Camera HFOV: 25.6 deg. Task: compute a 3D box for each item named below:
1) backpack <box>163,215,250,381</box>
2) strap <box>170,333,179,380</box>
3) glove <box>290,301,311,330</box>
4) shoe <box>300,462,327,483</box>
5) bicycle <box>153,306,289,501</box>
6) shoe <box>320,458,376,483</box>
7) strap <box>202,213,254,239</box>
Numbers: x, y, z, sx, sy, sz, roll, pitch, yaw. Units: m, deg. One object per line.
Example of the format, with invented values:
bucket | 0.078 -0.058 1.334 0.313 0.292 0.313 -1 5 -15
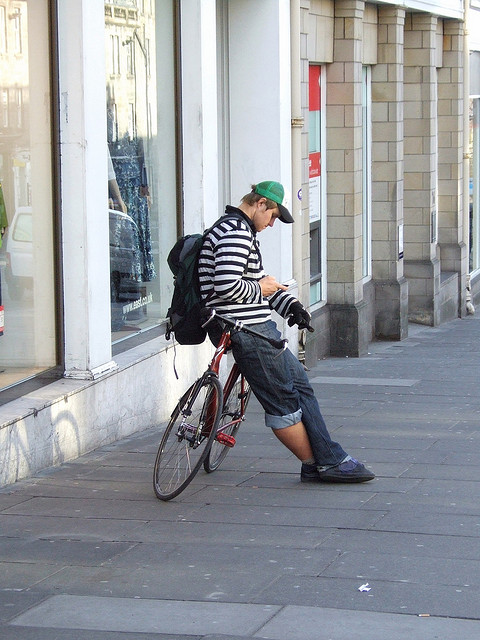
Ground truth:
backpack | -0.175 -0.124 5.609 0.436 0.886 0.402 1 5 -8
strap | -0.390 0.253 6.370 0.036 0.252 0.018 2 -21 -20
glove | 0.297 -0.034 5.547 0.045 0.106 0.139 -35 46 1
shoe | 0.380 0.830 5.710 0.170 0.122 0.058 -1 6 -5
bicycle | -0.184 0.390 5.708 0.610 0.951 1.474 5 8 4
shoe | 0.582 0.814 5.696 0.312 0.148 0.118 -4 9 -3
strap | -0.071 -0.476 5.350 0.174 0.173 0.125 14 12 7
